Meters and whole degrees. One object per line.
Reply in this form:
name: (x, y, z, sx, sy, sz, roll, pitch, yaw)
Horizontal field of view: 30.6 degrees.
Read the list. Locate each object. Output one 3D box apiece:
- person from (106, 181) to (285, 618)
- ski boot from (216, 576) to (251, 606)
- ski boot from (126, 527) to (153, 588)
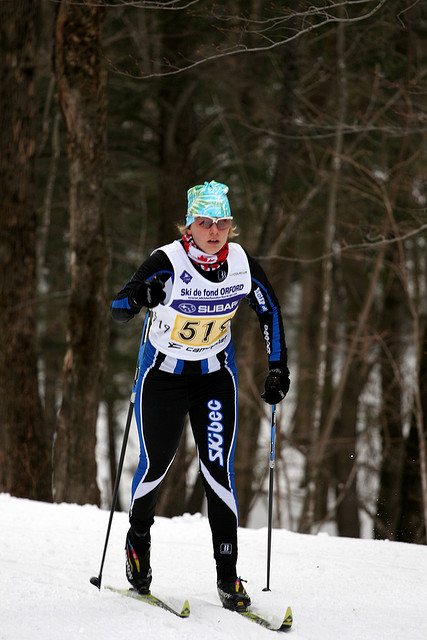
person: (-0.078, 0.354, 4.066, 0.913, 1.813, 0.496, 4, 1, -8)
ski boot: (0.103, 1.350, 4.004, 0.081, 0.102, 0.223, -1, 18, -15)
ski boot: (-0.396, 1.242, 4.118, 0.132, 0.318, 0.211, 2, -14, -15)
